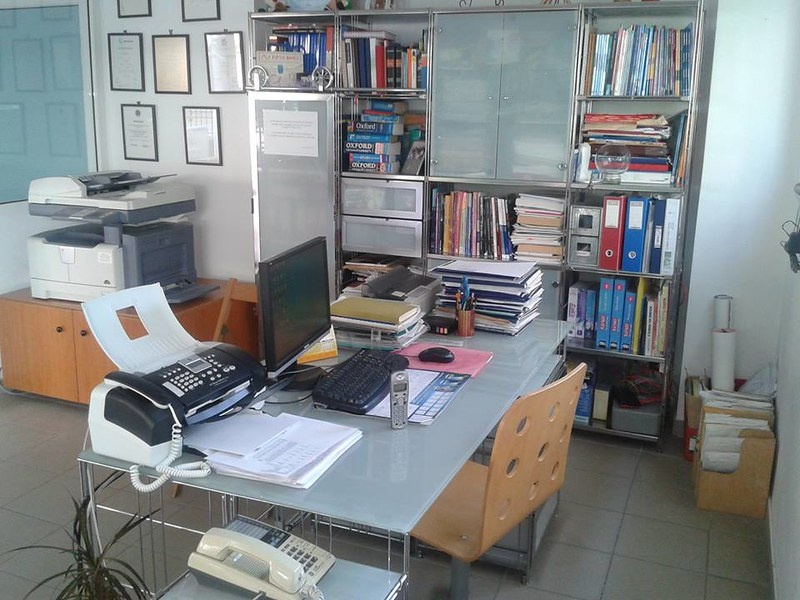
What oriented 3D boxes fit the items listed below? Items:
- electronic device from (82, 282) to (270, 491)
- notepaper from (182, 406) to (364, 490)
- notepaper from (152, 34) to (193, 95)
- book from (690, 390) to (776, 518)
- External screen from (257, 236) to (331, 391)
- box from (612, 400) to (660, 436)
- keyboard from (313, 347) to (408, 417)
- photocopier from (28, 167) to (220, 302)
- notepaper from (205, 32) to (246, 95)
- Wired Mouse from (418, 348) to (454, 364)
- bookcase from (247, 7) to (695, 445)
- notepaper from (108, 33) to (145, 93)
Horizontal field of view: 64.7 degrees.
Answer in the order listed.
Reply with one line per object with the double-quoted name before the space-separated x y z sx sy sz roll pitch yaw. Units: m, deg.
"electronic device" -0.803 0.265 2.143 0.576 0.433 0.700 8 16 9
"notepaper" -0.429 0.481 2.083 0.306 0.035 0.265 6 16 19
"notepaper" -1.689 -1.778 4.718 0.399 0.495 0.037 9 17 23
"book" 1.797 0.816 3.403 0.352 0.514 0.429 7 19 22
"External screen" -0.412 0.049 2.523 0.161 0.508 0.543 4 15 15
"box" 1.459 0.742 3.890 0.208 0.126 0.205 4 8 23
"keyboard" -0.173 0.350 2.439 0.206 0.060 0.400 2 11 11
"photocopier" -1.835 -0.474 4.375 1.080 0.780 1.084 9 16 19
"notepaper" -1.252 -1.730 4.568 0.432 0.519 0.035 4 15 22
"Wired Mouse" 0.157 0.237 2.690 0.118 0.039 0.068 4 14 15
"bookcase" 0.545 -0.471 3.530 2.738 2.406 0.702 3 10 14
"notepaper" -2.104 -1.828 4.858 0.332 0.409 0.042 6 19 19
